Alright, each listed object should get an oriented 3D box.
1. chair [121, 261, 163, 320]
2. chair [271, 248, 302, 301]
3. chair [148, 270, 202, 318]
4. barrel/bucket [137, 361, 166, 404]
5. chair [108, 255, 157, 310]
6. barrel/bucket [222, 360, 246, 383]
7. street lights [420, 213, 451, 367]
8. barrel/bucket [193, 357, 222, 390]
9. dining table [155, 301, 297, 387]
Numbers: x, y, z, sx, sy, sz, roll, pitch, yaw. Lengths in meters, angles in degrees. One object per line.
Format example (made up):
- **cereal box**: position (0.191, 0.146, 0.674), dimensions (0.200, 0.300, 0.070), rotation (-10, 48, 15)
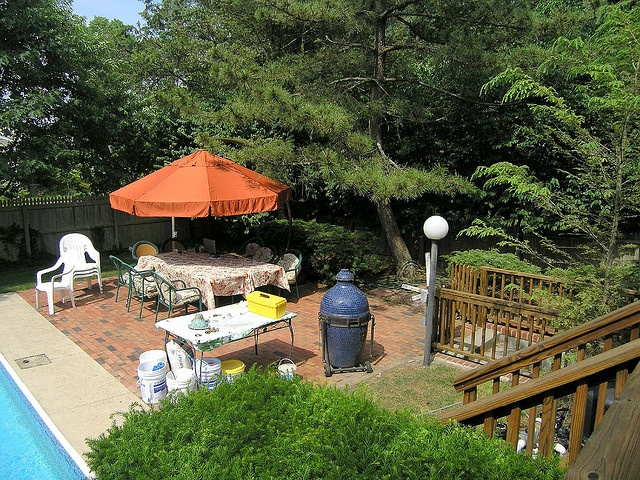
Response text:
- **chair**: position (-3.897, 1.127, 11.914), dimensions (0.732, 1.329, 0.928), rotation (13, 18, 37)
- **chair**: position (-0.753, 0.810, 12.883), dimensions (0.656, 1.006, 0.686), rotation (1, 12, 16)
- **chair**: position (-3.002, 1.183, 11.415), dimensions (0.928, 1.361, 0.930), rotation (-6, 17, -20)
- **barrel/bucket**: position (-2.559, 2.199, 8.320), dimensions (0.465, 0.578, 0.443), rotation (-1, 7, 0)
- **chair**: position (-4.013, 0.853, 12.031), dimensions (0.986, 1.299, 0.990), rotation (-1, 23, -21)
- **barrel/bucket**: position (-1.355, 2.048, 8.429), dimensions (0.323, 0.228, 0.468), rotation (-2, 7, -11)
- **street lights**: position (2.087, 0.883, 9.808), dimensions (0.392, 2.670, 0.840), rotation (1, 7, 11)
- **barrel/bucket**: position (-1.725, 2.028, 8.223), dimensions (0.436, 0.542, 0.469), rotation (2, 5, 0)
- **dining table**: position (-1.684, 1.366, 8.846), dimensions (1.159, 1.041, 1.816), rotation (22, 24, 38)
